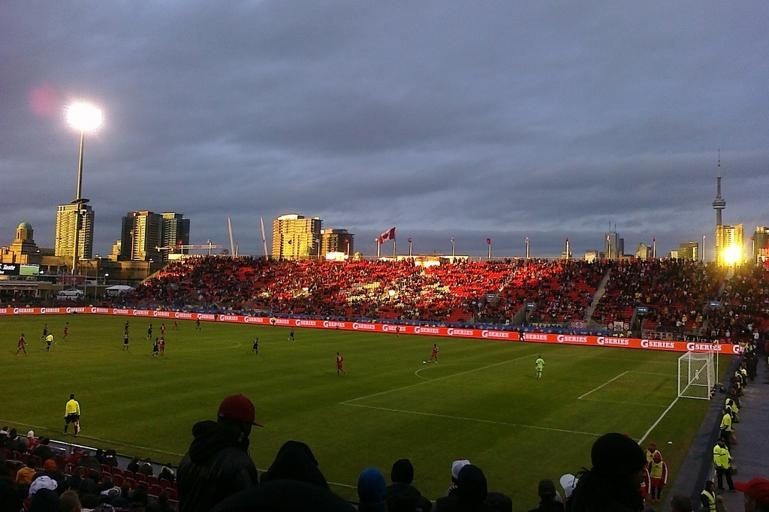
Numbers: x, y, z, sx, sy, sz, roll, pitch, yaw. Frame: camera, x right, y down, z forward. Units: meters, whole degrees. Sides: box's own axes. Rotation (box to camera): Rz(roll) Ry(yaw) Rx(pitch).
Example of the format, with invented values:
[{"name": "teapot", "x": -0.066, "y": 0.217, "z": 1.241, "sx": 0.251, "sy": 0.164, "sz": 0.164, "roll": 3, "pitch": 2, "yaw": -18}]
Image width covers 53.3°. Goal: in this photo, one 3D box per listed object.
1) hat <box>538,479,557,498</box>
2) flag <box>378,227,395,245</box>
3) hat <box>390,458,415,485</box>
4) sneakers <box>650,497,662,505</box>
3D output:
[{"name": "hat", "x": 6.418, "y": 9.245, "z": 30.515, "sx": 0.596, "sy": 0.759, "sz": 0.800, "roll": 0, "pitch": 6, "yaw": 5}, {"name": "flag", "x": 0.437, "y": -2.623, "z": 104.120, "sx": 2.804, "sy": 2.792, "sz": 0.241, "roll": 9, "pitch": 2, "yaw": 27}, {"name": "hat", "x": 0.663, "y": 8.264, "z": 29.152, "sx": 0.768, "sy": 1.005, "sz": 0.592, "roll": -1, "pitch": -2, "yaw": 3}, {"name": "sneakers", "x": 13.842, "y": 12.584, "z": 39.191, "sx": 0.224, "sy": 0.247, "sz": 0.611, "roll": -21, "pitch": -39, "yaw": 25}]
